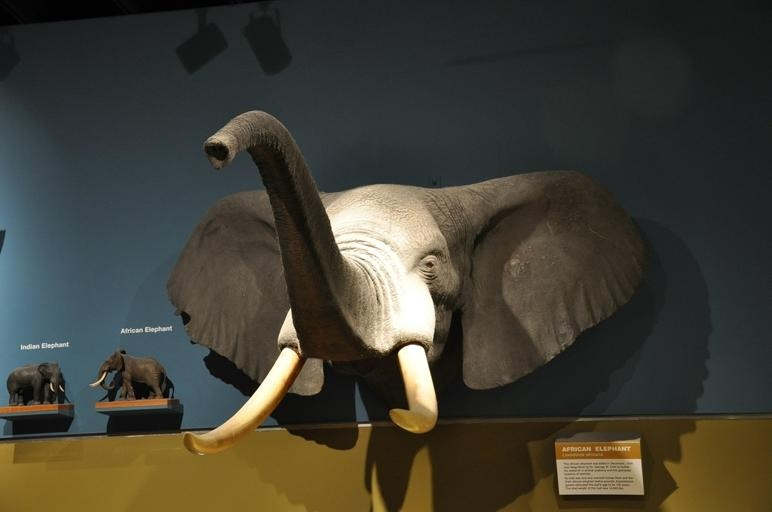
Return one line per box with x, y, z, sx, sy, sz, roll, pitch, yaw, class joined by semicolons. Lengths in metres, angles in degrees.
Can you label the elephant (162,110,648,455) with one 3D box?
0.022;0.144;3.111;1.887;1.109;1.157;0;-12;-1;elephant
